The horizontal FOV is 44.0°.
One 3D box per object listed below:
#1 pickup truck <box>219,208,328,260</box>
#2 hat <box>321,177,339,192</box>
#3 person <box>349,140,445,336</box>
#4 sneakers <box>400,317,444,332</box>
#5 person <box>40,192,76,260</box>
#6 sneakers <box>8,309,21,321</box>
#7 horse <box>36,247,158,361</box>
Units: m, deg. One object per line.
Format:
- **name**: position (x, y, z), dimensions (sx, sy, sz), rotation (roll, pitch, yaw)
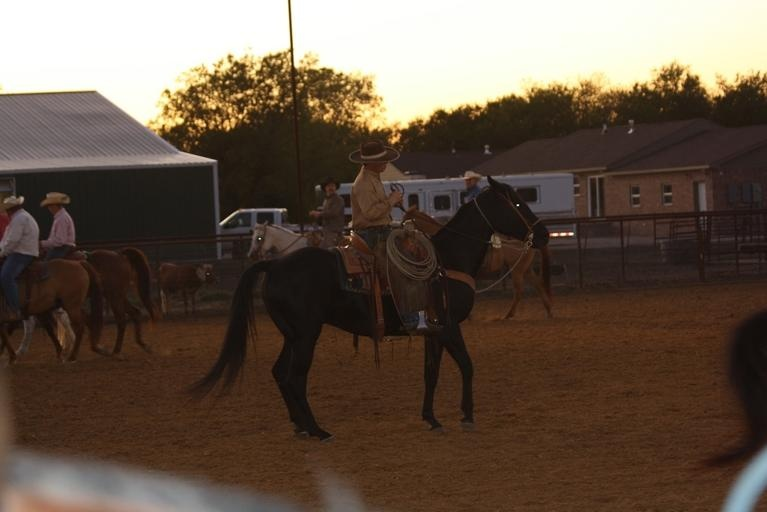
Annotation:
- **pickup truck**: position (-2.982, -0.607, 25.056), dimensions (3.084, 1.635, 1.798), rotation (1, 3, 0)
- **hat**: position (-1.018, -1.421, 18.493), dimensions (0.244, 0.309, 0.308), rotation (-2, 5, -5)
- **person**: position (0.154, -0.275, 13.181), dimensions (1.354, 2.688, 0.773), rotation (1, 5, 32)
- **sneakers**: position (0.537, 0.941, 12.956), dimensions (0.528, 0.239, 0.179), rotation (-1, 4, 9)
- **person**: position (-6.004, -0.570, 17.565), dimensions (0.603, 1.183, 0.915), rotation (-3, 5, -20)
- **sneakers**: position (-6.524, 1.058, 16.774), dimensions (0.300, 0.234, 0.106), rotation (5, 7, 19)
- **horse**: position (-5.847, 0.717, 17.993), dimensions (2.939, 2.237, 0.742), rotation (-1, 11, -28)
